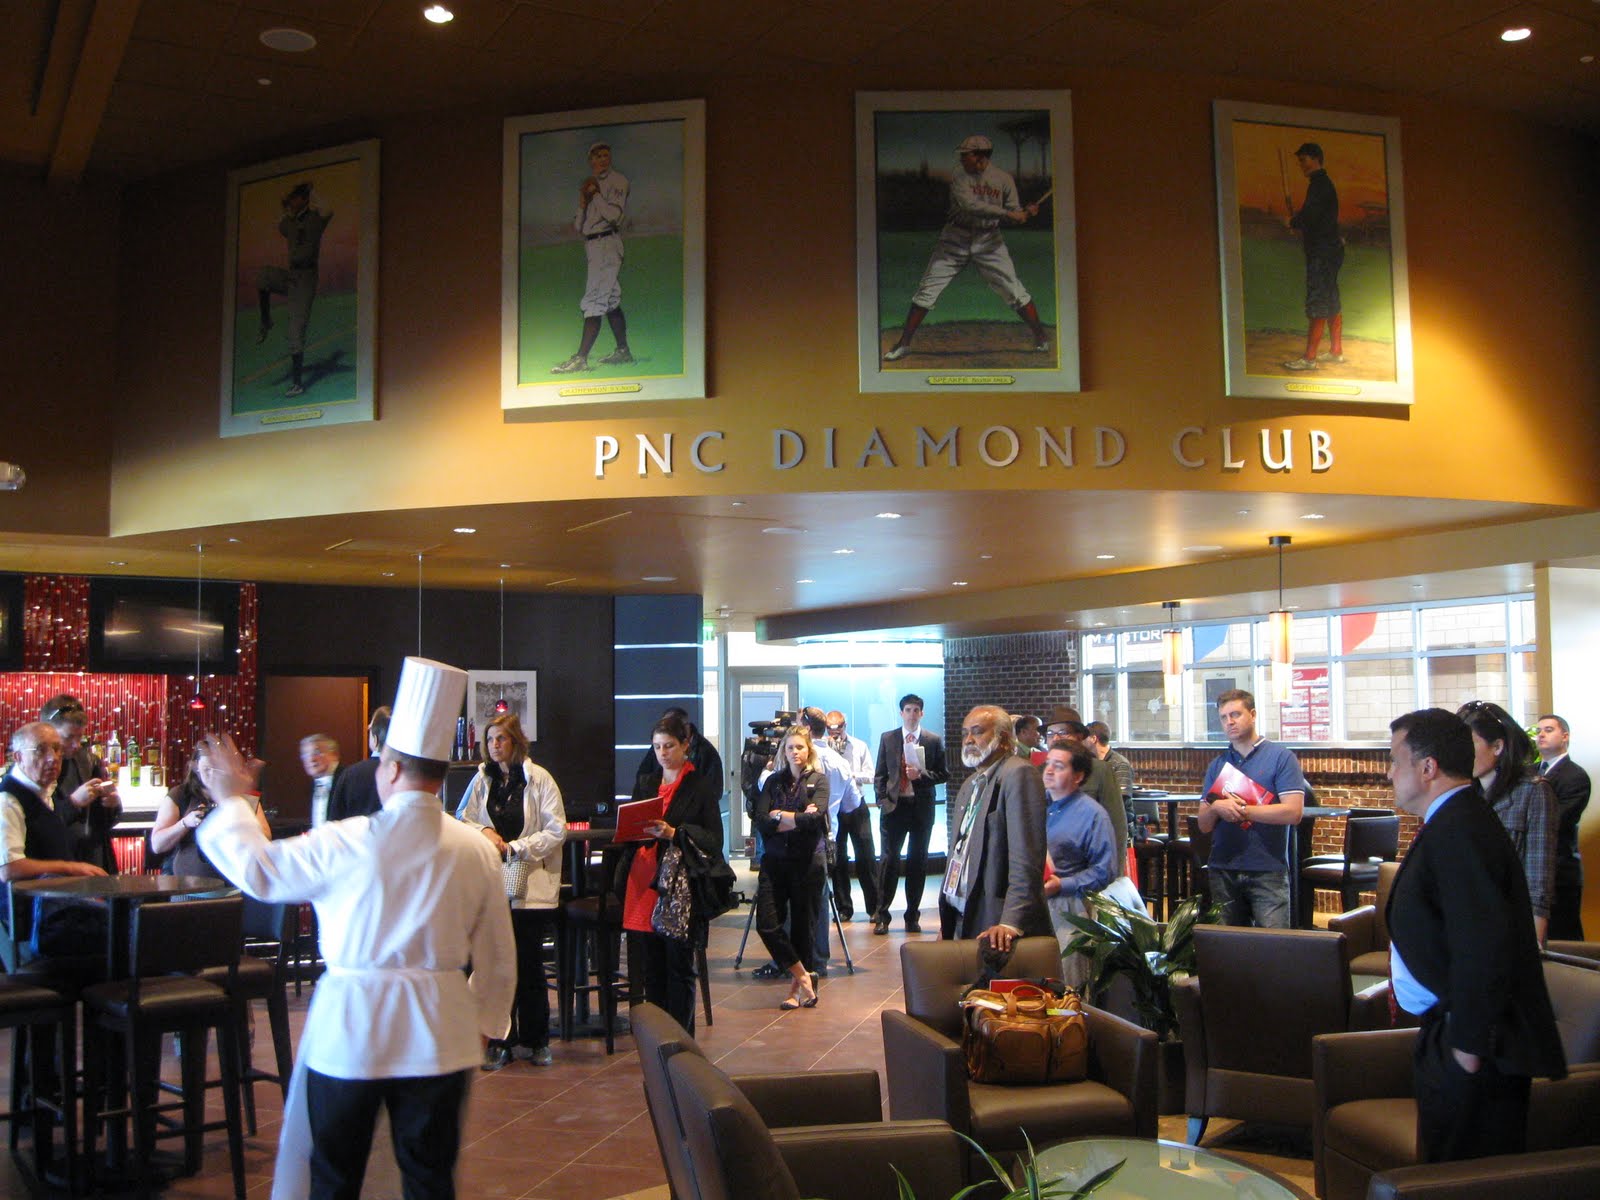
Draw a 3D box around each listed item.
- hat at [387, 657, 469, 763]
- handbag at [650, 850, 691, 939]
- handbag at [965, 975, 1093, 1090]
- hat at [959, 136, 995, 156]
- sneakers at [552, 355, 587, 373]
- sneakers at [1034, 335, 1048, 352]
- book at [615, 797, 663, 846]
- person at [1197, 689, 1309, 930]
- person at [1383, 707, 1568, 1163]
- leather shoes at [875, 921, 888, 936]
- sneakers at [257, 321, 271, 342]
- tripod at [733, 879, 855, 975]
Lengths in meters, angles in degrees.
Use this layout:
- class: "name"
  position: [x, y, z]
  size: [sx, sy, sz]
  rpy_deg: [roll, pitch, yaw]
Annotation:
- class: "hat"
  position: [-1.378, 0.406, 5.361]
  size: [0.278, 0.347, 0.302]
  rpy_deg: [13, 5, 16]
- class: "handbag"
  position: [-0.748, 1.669, 8.376]
  size: [0.227, 0.555, 0.288]
  rpy_deg: [1, 16, -12]
- class: "handbag"
  position: [0.974, 1.865, 6.181]
  size: [0.523, 0.410, 0.300]
  rpy_deg: [2, -5, -7]
- class: "hat"
  position: [1.093, -2.776, 8.763]
  size: [0.149, 0.075, 0.112]
  rpy_deg: [7, 4, 11]
- class: "sneakers"
  position: [-1.396, -1.428, 8.707]
  size: [0.222, 0.096, 0.080]
  rpy_deg: [1, 1, 7]
- class: "sneakers"
  position: [1.467, -1.552, 8.689]
  size: [0.099, 0.137, 0.072]
  rpy_deg: [2, 9, 12]
- class: "book"
  position: [-0.948, 1.301, 8.351]
  size: [0.314, 0.266, 0.306]
  rpy_deg: [1, -7, -25]
- class: "person"
  position: [2.713, 1.263, 8.582]
  size: [0.594, 1.443, 0.762]
  rpy_deg: [-3, -6, 16]
- class: "person"
  position: [2.355, 1.188, 5.053]
  size: [0.537, 1.599, 0.365]
  rpy_deg: [-5, -7, 28]
- class: "leather shoes"
  position: [0.739, 2.959, 12.857]
  size: [0.070, 0.127, 0.122]
  rpy_deg: [-1, 1, 4]
- class: "sneakers"
  position: [-3.484, -1.742, 9.339]
  size: [0.066, 0.118, 0.074]
  rpy_deg: [-5, -9, 39]
- class: "tripod"
  position: [0.003, 2.678, 11.664]
  size: [0.862, 1.190, 0.918]
  rpy_deg: [0, -12, 0]
